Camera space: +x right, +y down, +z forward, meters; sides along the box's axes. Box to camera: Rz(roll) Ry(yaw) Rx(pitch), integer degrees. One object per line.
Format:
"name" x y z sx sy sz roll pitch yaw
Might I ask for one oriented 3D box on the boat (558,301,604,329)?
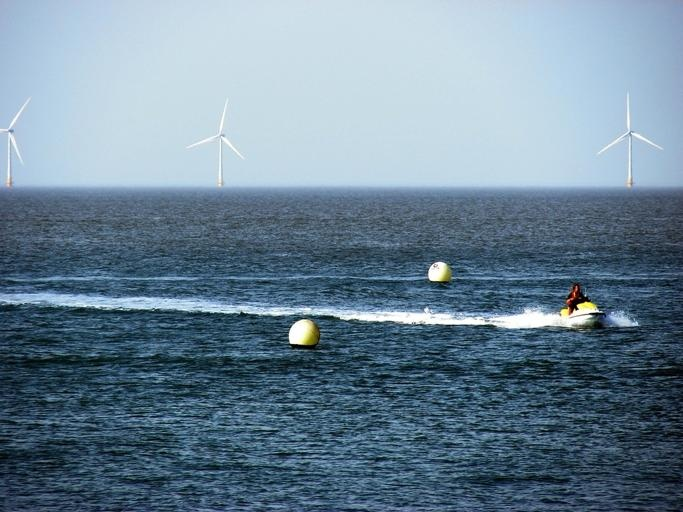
"boat" 18.063 4.388 104.575 2.939 1.801 1.575 5 8 39
